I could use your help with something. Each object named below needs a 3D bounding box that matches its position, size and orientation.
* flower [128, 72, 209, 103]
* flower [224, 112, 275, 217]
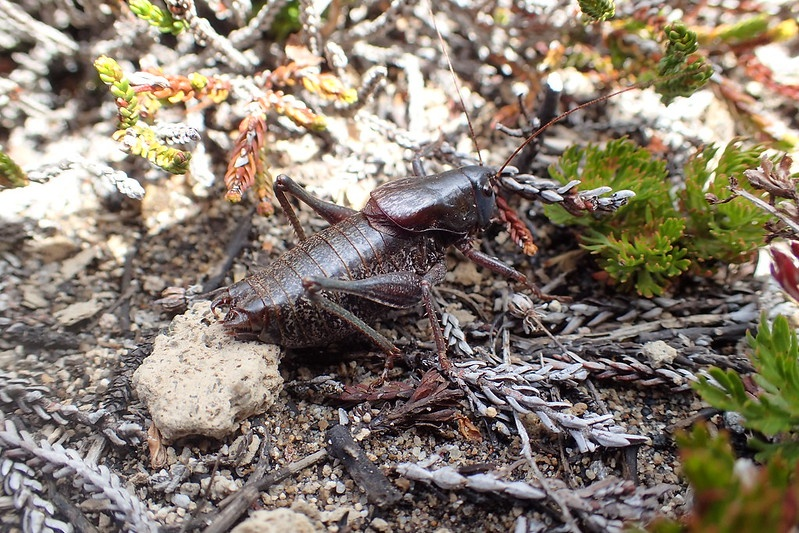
[{"bbox_3d":[-1.590,-1.235,4.620,0.352,0.244,0.107,-16,116,-37],"label":"flower"},{"bbox_3d":[-1.011,-0.732,4.731,0.282,0.294,0.799,4,56,-6],"label":"flower"}]
